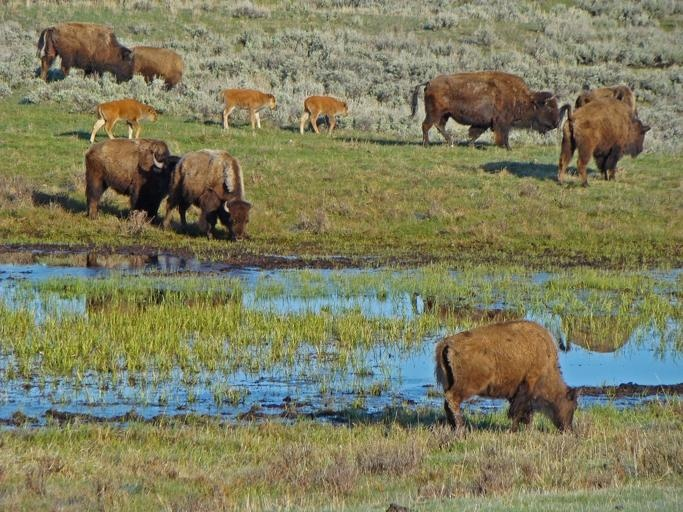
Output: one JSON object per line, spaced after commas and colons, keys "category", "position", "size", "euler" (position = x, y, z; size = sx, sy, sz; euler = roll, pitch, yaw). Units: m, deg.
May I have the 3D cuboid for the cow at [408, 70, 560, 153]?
{"category": "cow", "position": [4.830, -4.720, 42.516], "size": [5.748, 4.540, 2.222], "euler": [0, 10, -9]}

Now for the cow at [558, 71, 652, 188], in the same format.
{"category": "cow", "position": [7.906, -3.595, 39.619], "size": [2.286, 2.652, 3.936], "euler": [8, 11, 42]}

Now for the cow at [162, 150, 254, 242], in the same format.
{"category": "cow", "position": [-3.705, -1.713, 36.104], "size": [2.550, 2.486, 0.983], "euler": [5, 8, 30]}

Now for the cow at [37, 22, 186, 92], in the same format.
{"category": "cow", "position": [-9.457, -7.794, 49.600], "size": [3.874, 2.980, 2.790], "euler": [-15, 27, -31]}

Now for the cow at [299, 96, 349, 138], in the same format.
{"category": "cow", "position": [-0.793, -5.128, 45.236], "size": [0.781, 1.959, 2.810], "euler": [6, 10, 37]}
